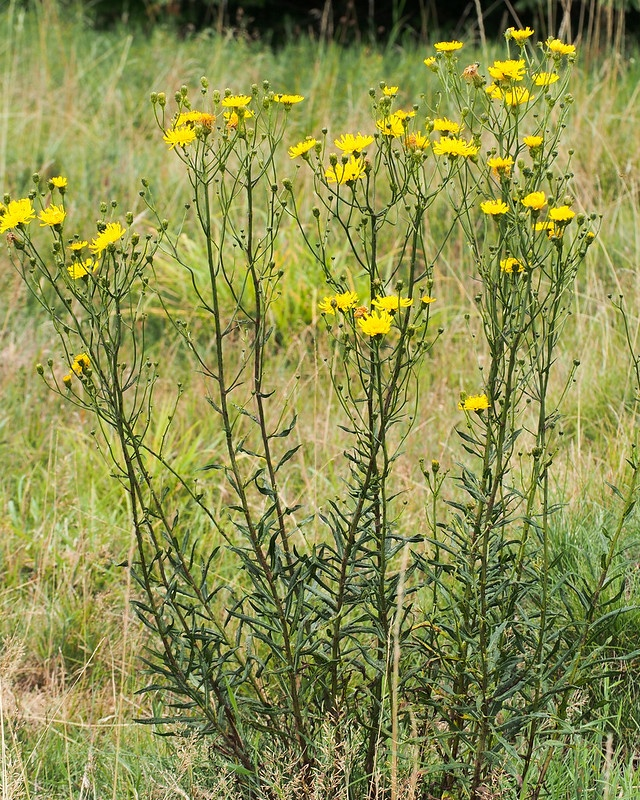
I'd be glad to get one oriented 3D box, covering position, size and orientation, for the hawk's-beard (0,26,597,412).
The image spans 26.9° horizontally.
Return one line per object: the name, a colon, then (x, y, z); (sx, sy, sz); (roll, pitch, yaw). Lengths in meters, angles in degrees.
hawk's-beard: (-0.100, -0.521, 4.170); (1.246, 1.309, 1.468); (-9, 7, -29)
